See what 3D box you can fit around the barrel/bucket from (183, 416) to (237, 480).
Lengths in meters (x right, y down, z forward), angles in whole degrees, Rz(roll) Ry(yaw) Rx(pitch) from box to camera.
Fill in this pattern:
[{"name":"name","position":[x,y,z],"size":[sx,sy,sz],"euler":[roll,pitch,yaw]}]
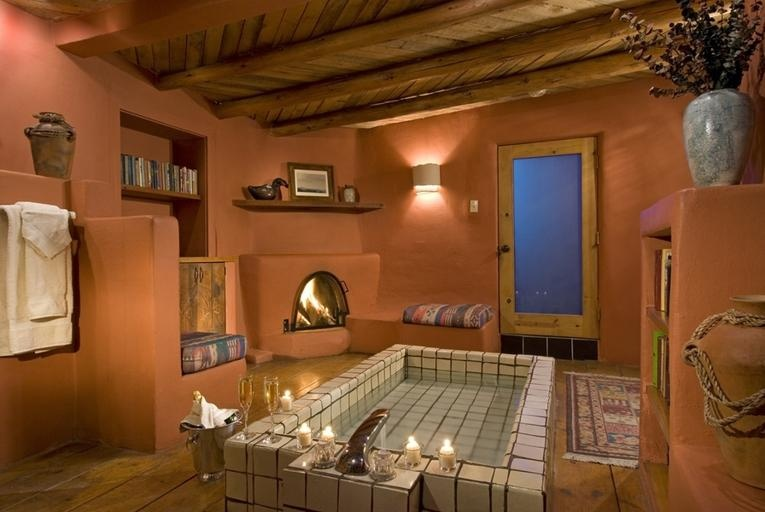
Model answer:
[{"name":"barrel/bucket","position":[-1.022,1.134,3.263],"size":[0.359,0.317,0.378],"euler":[1,1,0]}]

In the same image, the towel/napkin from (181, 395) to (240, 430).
[{"name":"towel/napkin","position":[-1.030,0.935,3.241],"size":[0.208,0.110,0.264],"euler":[0,-7,6]}]

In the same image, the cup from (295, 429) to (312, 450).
[{"name":"cup","position":[-0.372,0.872,2.526],"size":[0.086,0.095,0.084],"euler":[0,-3,0]}]

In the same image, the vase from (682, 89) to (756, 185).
[{"name":"vase","position":[1.590,-0.555,2.507],"size":[0.283,0.464,0.133],"euler":[-4,-3,34]}]

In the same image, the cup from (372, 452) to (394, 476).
[{"name":"cup","position":[-0.002,0.916,2.359],"size":[0.098,0.086,0.097],"euler":[-1,0,0]}]

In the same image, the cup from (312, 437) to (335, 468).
[{"name":"cup","position":[-0.266,0.888,2.401],"size":[0.113,0.102,0.110],"euler":[1,2,0]}]

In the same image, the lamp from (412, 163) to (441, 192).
[{"name":"lamp","position":[0.479,-0.856,5.846],"size":[0.309,0.295,0.301],"euler":[-3,5,-30]}]

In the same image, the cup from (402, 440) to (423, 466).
[{"name":"cup","position":[0.138,0.879,2.392],"size":[0.087,0.123,0.068],"euler":[-2,-3,-9]}]

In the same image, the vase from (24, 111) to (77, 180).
[{"name":"vase","position":[-2.261,-0.750,3.619],"size":[0.329,0.432,0.354],"euler":[0,9,-5]}]

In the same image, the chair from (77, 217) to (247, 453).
[{"name":"chair","position":[-1.571,0.500,3.567],"size":[0.932,1.520,0.424],"euler":[-1,-3,-19]}]

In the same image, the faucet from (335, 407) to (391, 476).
[{"name":"faucet","position":[-0.093,0.852,2.445],"size":[0.129,0.078,0.321],"euler":[2,21,20]}]

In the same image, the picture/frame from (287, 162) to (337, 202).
[{"name":"picture/frame","position":[-0.836,-0.859,6.097],"size":[0.513,0.432,0.071],"euler":[-1,-3,-17]}]

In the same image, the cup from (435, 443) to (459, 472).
[{"name":"cup","position":[0.282,0.885,2.328],"size":[0.099,0.106,0.097],"euler":[-1,-1,0]}]
